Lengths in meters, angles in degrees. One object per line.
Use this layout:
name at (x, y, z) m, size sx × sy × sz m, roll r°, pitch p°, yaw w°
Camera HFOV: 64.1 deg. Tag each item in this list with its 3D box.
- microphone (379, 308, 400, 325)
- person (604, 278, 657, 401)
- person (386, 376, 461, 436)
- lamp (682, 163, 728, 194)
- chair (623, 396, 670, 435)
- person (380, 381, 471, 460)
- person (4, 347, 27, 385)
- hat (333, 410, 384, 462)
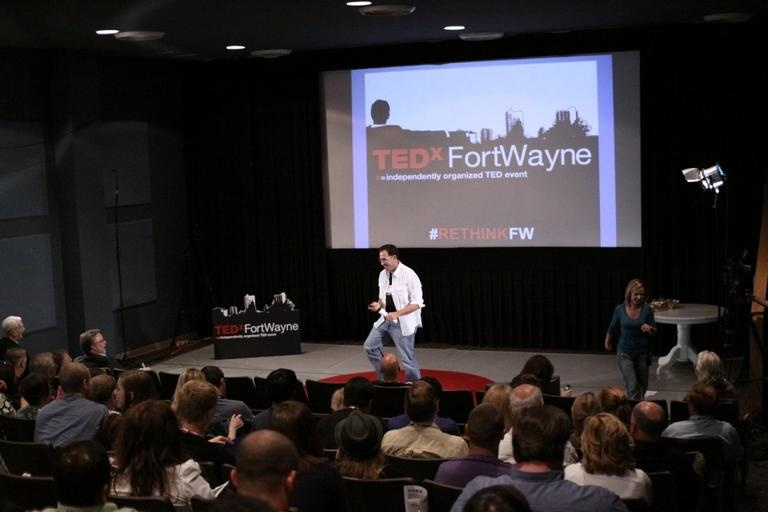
microphone at (0.097, 0.848, 8.404) m, size 0.218 × 0.203 × 0.109 m, roll 32°, pitch -22°, yaw -27°
person at (3.047, 1.037, 7.516) m, size 0.569 × 1.469 × 0.472 m, roll 1°, pitch 5°, yaw 37°
person at (0.340, 1.313, 5.351) m, size 0.732 × 0.633 × 0.377 m, roll 2°, pitch 9°, yaw 8°
lamp at (4.717, -1.158, 8.966) m, size 0.560 × 0.399 × 0.256 m, roll -11°, pitch 12°, yaw 29°
chair at (1.954, 1.180, 4.530) m, size 0.234 × 0.346 × 0.251 m, roll 1°, pitch 2°, yaw -2°
person at (0.352, 1.366, 5.208) m, size 0.737 × 0.369 × 0.667 m, roll 3°, pitch 37°, yaw 2°
person at (-4.019, 1.211, 6.713) m, size 0.203 × 0.377 × 1.137 m, roll -5°, pitch 5°, yaw -31°
hat at (-0.159, 1.097, 3.951) m, size 0.302 × 0.146 × 0.403 m, roll -4°, pitch 32°, yaw -3°
